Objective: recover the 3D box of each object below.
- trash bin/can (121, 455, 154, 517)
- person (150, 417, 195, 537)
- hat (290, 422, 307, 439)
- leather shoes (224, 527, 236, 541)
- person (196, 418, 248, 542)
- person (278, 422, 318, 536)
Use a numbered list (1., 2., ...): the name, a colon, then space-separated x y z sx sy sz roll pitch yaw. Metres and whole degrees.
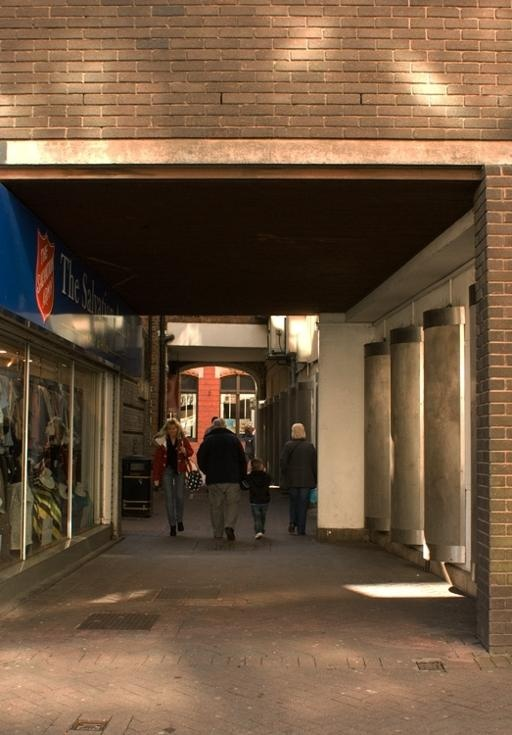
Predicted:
1. trash bin/can: -2.140 2.132 14.300 0.504 1.072 0.421 1 -5 -6
2. person: -1.247 1.607 11.945 0.586 1.707 1.536 1 -5 -7
3. hat: 0.660 1.048 12.592 0.278 0.363 0.339 1 4 5
4. leather shoes: -0.369 2.325 11.139 0.088 0.266 0.164 -9 1 -4
5. person: -0.496 1.568 11.368 0.703 1.720 0.653 1 -5 -2
6. person: 0.651 1.701 12.268 0.537 1.698 0.797 0 -5 3
